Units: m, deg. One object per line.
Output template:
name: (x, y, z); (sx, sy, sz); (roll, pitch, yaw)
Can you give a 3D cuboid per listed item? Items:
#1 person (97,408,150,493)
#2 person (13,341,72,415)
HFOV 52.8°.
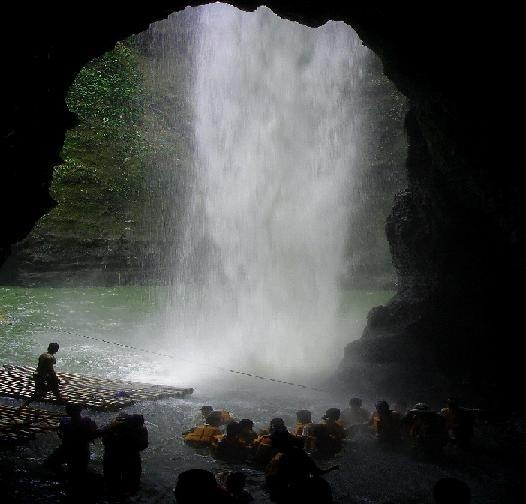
person: (-2.325, 3.303, 8.696); (0.750, 1.324, 0.470); (7, -8, -12)
person: (-5.063, 2.811, 12.251); (0.645, 1.430, 0.911); (0, -9, 31)
